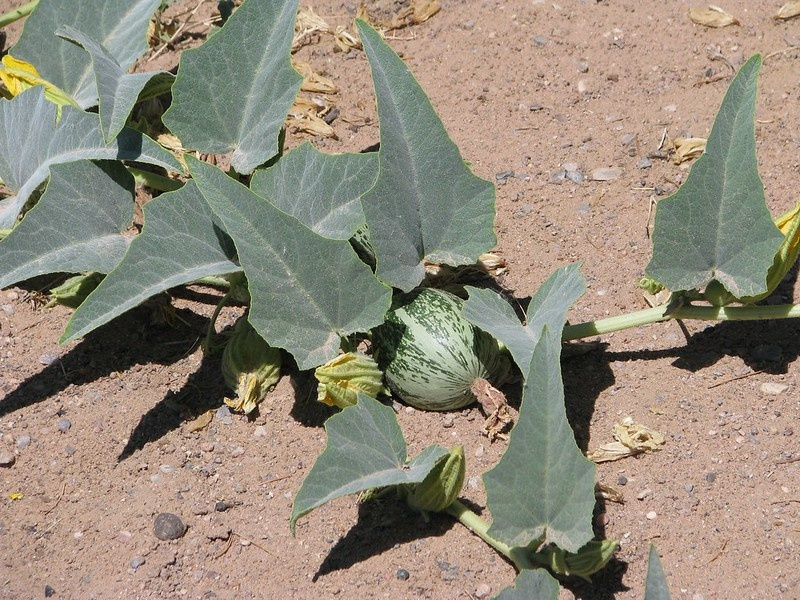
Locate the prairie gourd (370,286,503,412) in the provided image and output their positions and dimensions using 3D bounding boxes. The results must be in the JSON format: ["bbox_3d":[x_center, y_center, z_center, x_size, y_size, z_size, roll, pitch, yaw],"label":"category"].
[{"bbox_3d":[0.144,0.187,3.015,0.334,0.333,0.445,-43,68,-11],"label":"prairie gourd"}]
